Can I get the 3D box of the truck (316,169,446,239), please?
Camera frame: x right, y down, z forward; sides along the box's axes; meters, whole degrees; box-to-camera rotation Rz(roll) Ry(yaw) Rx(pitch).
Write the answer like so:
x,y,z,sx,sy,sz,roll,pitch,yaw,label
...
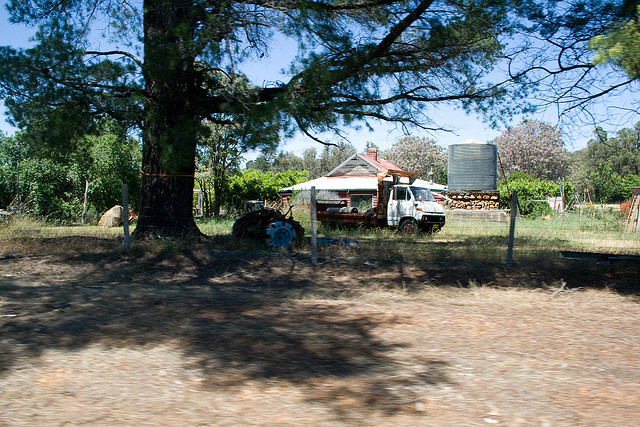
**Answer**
x,y,z,sx,sy,sz,roll,pitch,yaw,label
2.242,-0.359,20.405,2.200,2.352,5.788,0,1,-44,truck
